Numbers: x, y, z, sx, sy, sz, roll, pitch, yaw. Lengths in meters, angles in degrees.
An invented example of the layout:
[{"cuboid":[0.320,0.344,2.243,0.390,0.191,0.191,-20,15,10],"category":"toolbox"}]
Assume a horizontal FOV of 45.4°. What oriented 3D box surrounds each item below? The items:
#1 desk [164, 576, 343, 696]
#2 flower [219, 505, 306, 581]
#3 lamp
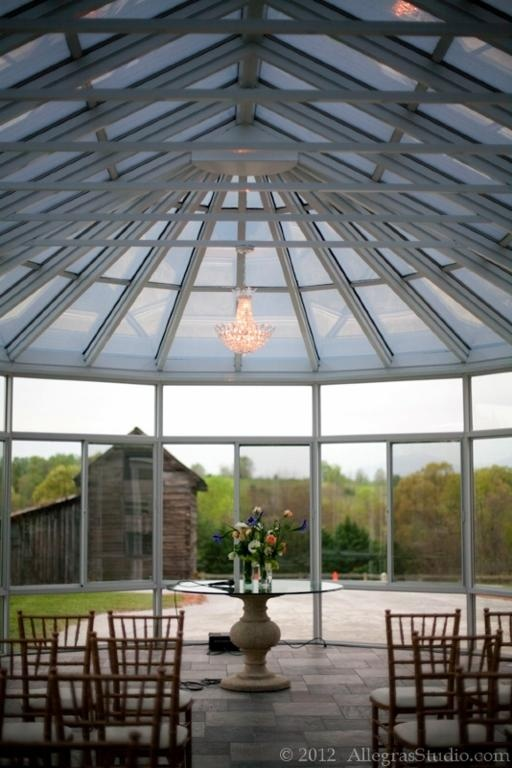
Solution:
[{"cuboid":[-0.128,2.472,6.037,1.386,0.802,1.330,-1,-15,8],"category":"desk"},{"cuboid":[0.000,1.704,6.198,0.613,0.525,0.556,8,-18,-24],"category":"flower"},{"cuboid":[-0.119,-0.868,6.510,0.587,1.135,0.604,-8,-12,35],"category":"lamp"}]
